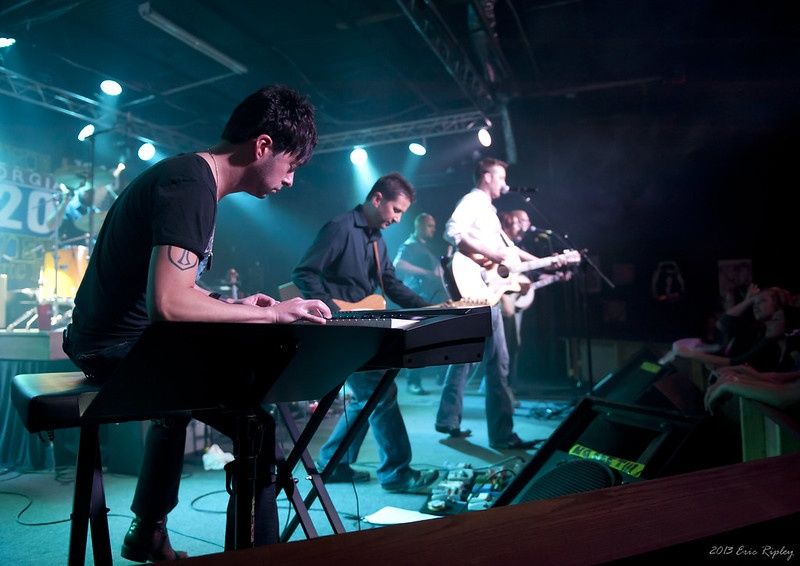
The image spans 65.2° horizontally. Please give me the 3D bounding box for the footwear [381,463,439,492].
[{"bbox_3d":[0.072,1.437,4.601,0.395,0.178,0.170,-6,-1,-11],"label":"footwear"}]

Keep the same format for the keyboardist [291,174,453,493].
[{"bbox_3d":[-0.256,0.361,4.565,0.980,2.302,1.116,4,6,-8],"label":"keyboardist"}]
